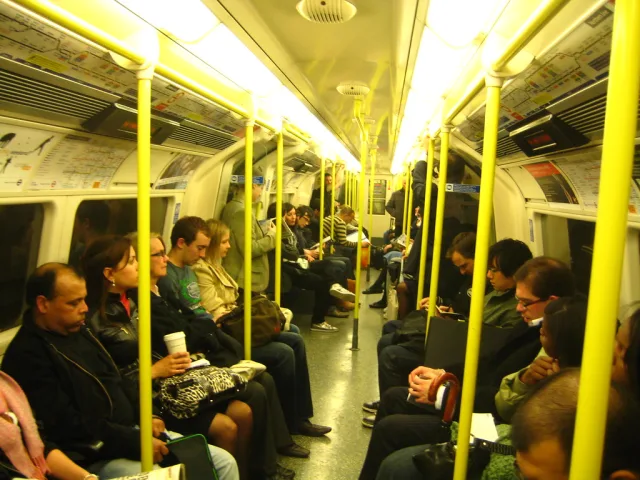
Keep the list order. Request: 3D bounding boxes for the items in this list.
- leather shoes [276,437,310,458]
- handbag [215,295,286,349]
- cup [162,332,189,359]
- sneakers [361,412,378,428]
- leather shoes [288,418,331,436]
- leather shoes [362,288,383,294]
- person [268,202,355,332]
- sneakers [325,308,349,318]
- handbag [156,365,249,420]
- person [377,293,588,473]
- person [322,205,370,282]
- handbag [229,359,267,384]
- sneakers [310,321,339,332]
[{"bbox_3d":[-0.242,1.642,3.610,0.323,0.120,0.103,1,11,14],"label":"leather shoes"},{"bbox_3d":[-0.490,0.681,3.815,0.506,0.435,0.334,10,-24,15],"label":"handbag"},{"bbox_3d":[-0.880,0.636,2.817,0.143,0.130,0.140,-19,-4,-1],"label":"cup"},{"bbox_3d":[0.435,1.589,4.045,0.114,0.115,0.295,-1,-15,15],"label":"sneakers"},{"bbox_3d":[-0.055,1.578,3.891,0.402,0.146,0.126,2,3,2],"label":"leather shoes"},{"bbox_3d":[0.991,0.981,8.686,0.356,0.094,0.121,2,-3,-8],"label":"leather shoes"},{"bbox_3d":[-0.028,0.380,6.514,1.468,1.740,0.738,1,-8,41],"label":"person"},{"bbox_3d":[0.278,1.133,7.153,0.375,0.225,0.127,1,20,2],"label":"sneakers"},{"bbox_3d":[-0.713,0.917,2.831,0.335,0.153,0.425,5,7,37],"label":"handbag"},{"bbox_3d":[0.907,0.554,2.482,0.910,0.982,0.706,9,8,14],"label":"person"},{"bbox_3d":[0.448,0.076,8.314,1.097,0.633,1.532,-8,-23,-7],"label":"person"},{"bbox_3d":[-0.498,0.883,3.126,0.180,0.065,0.184,13,8,43],"label":"handbag"},{"bbox_3d":[0.067,1.202,6.367,0.385,0.135,0.131,1,-1,0],"label":"sneakers"}]
